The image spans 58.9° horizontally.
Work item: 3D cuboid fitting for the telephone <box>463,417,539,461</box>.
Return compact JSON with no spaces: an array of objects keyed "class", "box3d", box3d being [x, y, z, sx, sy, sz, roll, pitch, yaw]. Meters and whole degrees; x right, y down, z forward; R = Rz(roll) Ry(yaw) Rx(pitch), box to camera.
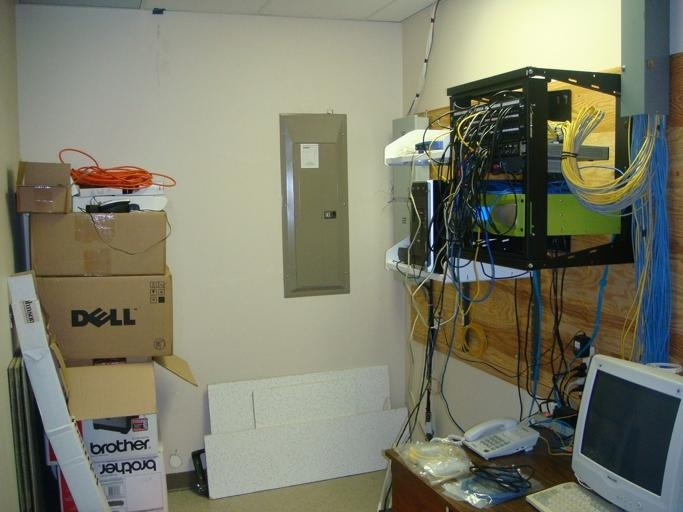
[{"class":"telephone","box3d":[0.762,0.874,2.897,0.240,0.102,0.181,-6,10,-17]}]
